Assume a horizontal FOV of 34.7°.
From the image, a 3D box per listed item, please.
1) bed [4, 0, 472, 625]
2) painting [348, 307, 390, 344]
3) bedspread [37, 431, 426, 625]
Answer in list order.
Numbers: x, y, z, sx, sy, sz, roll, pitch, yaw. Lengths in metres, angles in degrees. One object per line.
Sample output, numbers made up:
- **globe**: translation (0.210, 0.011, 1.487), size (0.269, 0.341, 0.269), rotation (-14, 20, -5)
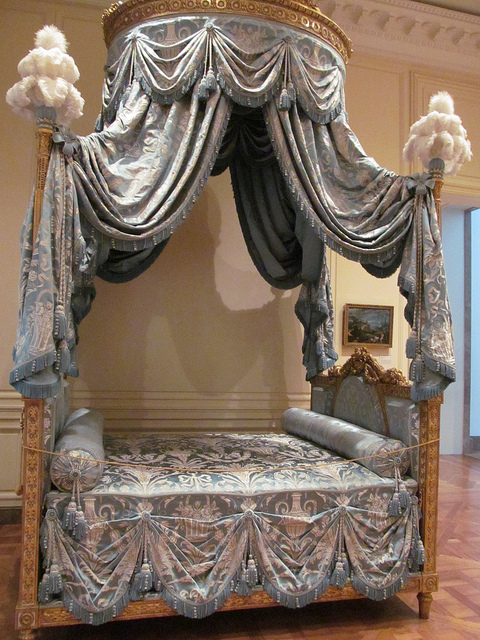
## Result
- **bed**: translation (-0.217, -0.143, 4.468), size (2.148, 3.038, 2.321), rotation (0, 4, -17)
- **painting**: translation (0.993, 0.035, 5.907), size (0.354, 0.271, 0.069), rotation (-1, 4, -24)
- **bedspread**: translation (-0.056, 0.990, 3.745), size (1.794, 0.622, 0.689), rotation (0, 4, -15)
